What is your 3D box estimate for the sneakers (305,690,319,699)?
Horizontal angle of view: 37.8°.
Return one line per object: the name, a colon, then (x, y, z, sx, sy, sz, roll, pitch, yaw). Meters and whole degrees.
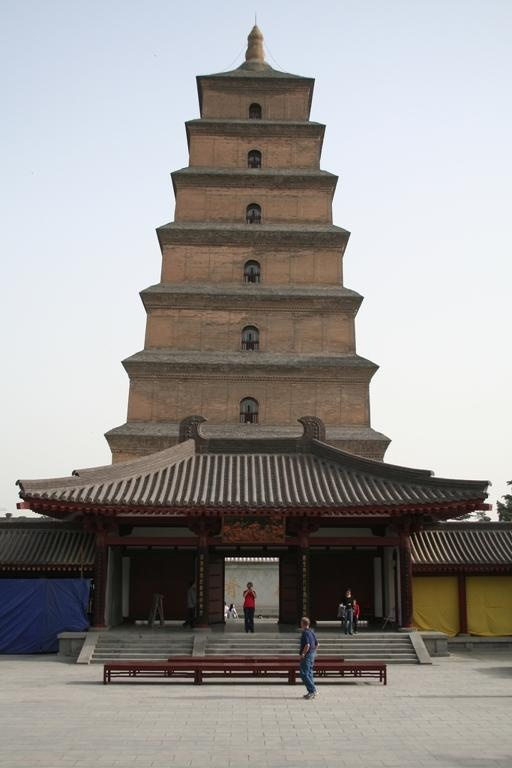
sneakers: (0.803, 4.552, 10.958, 0.108, 0.117, 0.284, -12, -27, 7)
